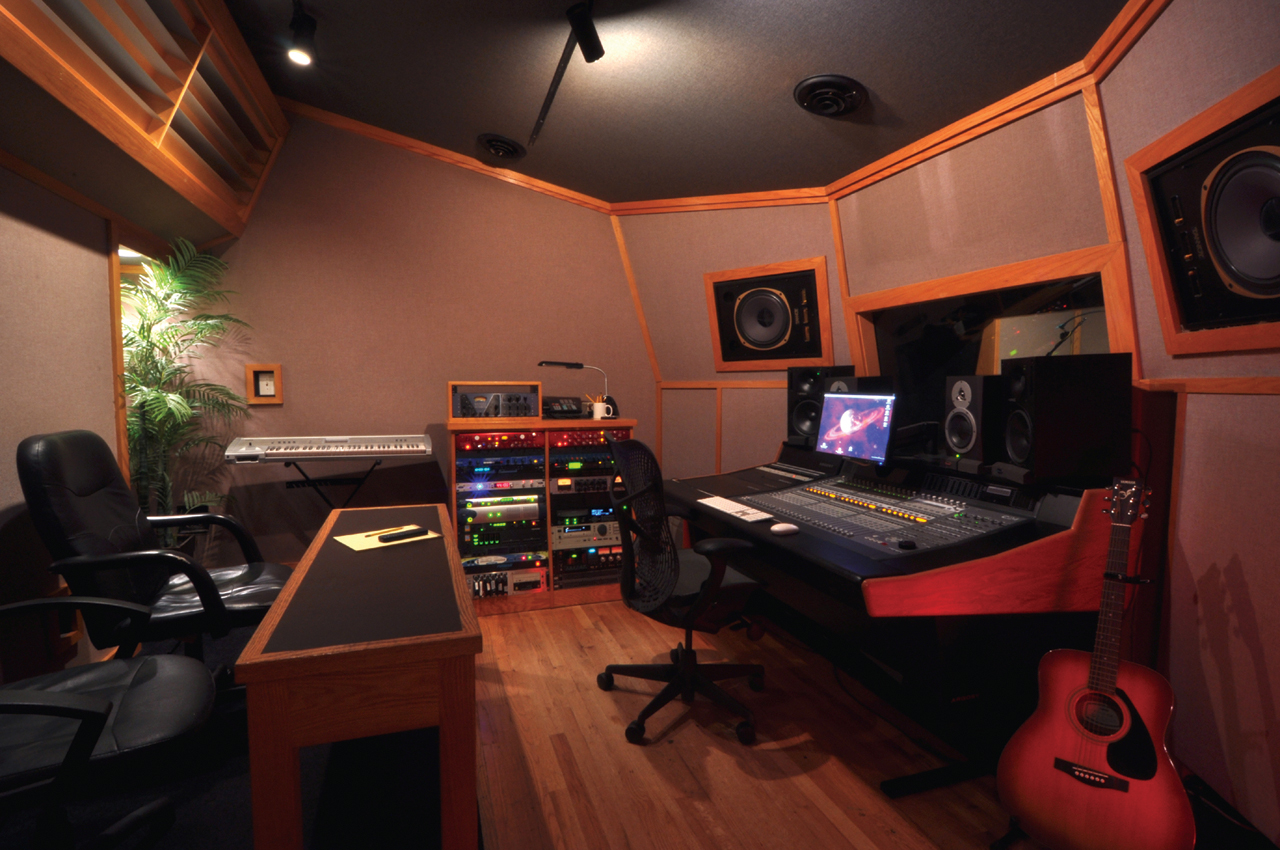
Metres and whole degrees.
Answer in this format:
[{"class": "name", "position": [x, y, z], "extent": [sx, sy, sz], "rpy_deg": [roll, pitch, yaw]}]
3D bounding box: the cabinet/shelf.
[{"class": "cabinet/shelf", "position": [-0.653, 0.568, 5.054], "extent": [1.291, 1.169, 0.506], "rpy_deg": [-2, -1, -22]}]

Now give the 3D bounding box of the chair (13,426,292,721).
[{"class": "chair", "position": [-2.616, 0.612, 4.212], "extent": [1.299, 1.597, 1.073], "rpy_deg": [-5, 2, -12]}]

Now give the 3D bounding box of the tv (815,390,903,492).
[{"class": "tv", "position": [1.199, 0.095, 4.358], "extent": [0.134, 0.497, 0.518], "rpy_deg": [8, -5, -23]}]

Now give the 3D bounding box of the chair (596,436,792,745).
[{"class": "chair", "position": [0.140, 0.846, 4.700], "extent": [1.283, 1.911, 1.396], "rpy_deg": [-2, -1, -7]}]
